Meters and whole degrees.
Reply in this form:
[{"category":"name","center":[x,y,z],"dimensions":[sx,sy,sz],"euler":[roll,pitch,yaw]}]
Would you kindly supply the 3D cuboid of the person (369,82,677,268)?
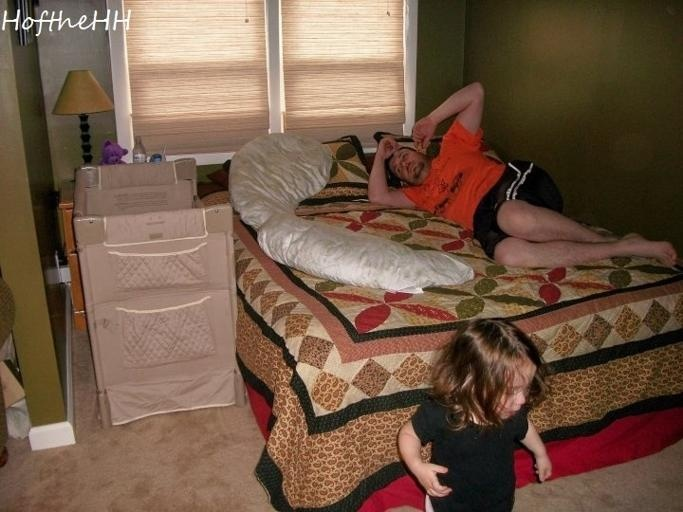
[{"category":"person","center":[0.630,-0.367,2.876],"dimensions":[1.893,0.821,0.735],"euler":[15,56,45]}]
